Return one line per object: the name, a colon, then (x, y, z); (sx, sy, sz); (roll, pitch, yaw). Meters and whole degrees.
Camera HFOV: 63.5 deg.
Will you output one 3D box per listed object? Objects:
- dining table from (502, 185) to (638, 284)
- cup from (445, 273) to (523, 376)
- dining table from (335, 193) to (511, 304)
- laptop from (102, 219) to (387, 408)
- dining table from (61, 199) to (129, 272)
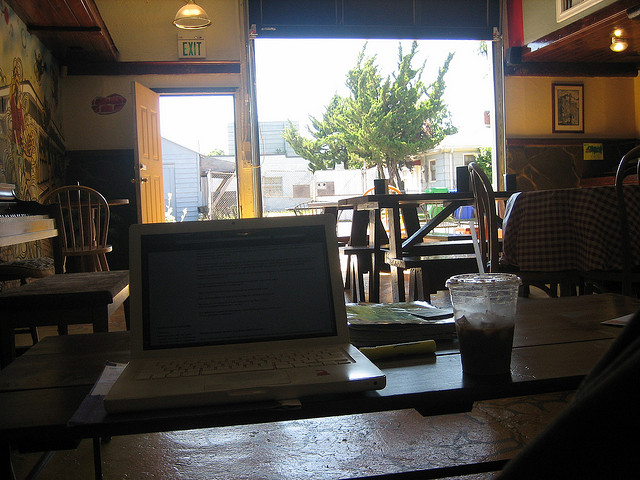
dining table: (1.197, -0.035, 2.472); (0.497, 0.262, 0.501); (0, 1, 15)
cup: (0.291, 0.143, 0.925); (0.148, 0.164, 0.135); (-4, -2, 0)
dining table: (0.620, 0.055, 3.417); (1.168, 0.561, 1.150); (-1, -1, -18)
laptop: (-0.137, 0.097, 0.882); (0.416, 0.244, 0.374); (-2, 2, -9)
dining table: (-2.183, -0.047, 4.978); (0.471, 0.712, 1.681); (-5, 4, -27)
